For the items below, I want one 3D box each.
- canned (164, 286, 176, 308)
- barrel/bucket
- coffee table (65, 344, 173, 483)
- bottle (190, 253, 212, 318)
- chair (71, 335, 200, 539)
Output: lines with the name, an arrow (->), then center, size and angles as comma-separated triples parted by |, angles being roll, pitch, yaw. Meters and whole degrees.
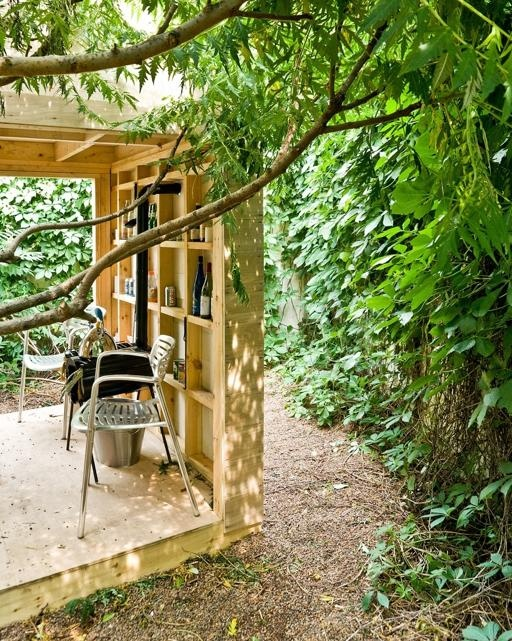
canned -> -0.566, -0.160, 3.610 | 0.084, 0.128, 0.134 | 4, 8, 4
barrel/bucket -> -0.795, 0.660, 3.369 | 0.441, 0.281, 0.408 | 5, 6, -1
coffee table -> -0.835, 0.484, 3.199 | 0.486, 0.537, 0.402 | 5, -1, -9
bottle -> -0.303, -0.196, 3.120 | 0.089, 0.341, 0.272 | 1, 8, -15
chair -> -0.637, 0.567, 2.953 | 0.730, 0.823, 0.696 | -3, 9, -22
